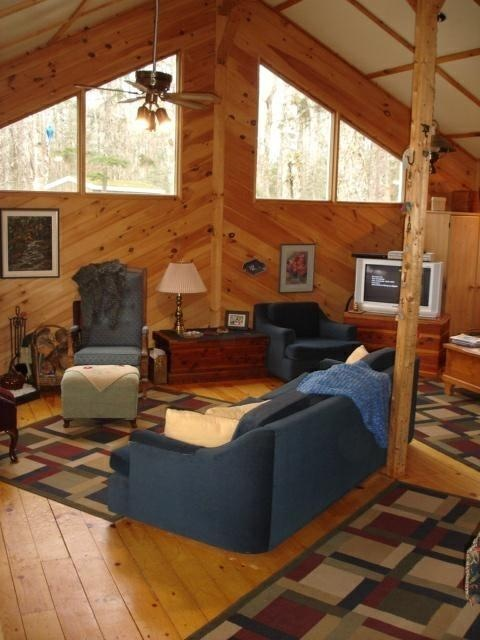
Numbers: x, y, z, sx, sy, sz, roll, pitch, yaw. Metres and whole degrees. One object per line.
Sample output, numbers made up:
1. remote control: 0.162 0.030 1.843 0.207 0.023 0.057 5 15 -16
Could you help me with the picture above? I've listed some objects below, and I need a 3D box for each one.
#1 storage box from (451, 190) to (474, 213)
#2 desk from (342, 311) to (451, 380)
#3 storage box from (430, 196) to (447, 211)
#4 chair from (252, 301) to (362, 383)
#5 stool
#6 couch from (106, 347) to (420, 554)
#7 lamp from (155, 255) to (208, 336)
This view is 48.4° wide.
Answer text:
1. storage box: 3.286 -1.748 7.827 0.194 0.314 0.364 -1 16 -42
2. desk: 2.031 0.209 6.828 1.665 0.870 0.876 6 10 36
3. storage box: 2.765 -1.605 7.433 0.260 0.204 0.235 3 17 4
4. chair: 0.816 0.210 6.550 1.166 0.881 1.100 -3 5 -25
5. stool: -1.179 0.637 4.510 0.604 0.376 0.557 0 5 -9
6. couch: -0.018 0.428 2.735 0.823 0.564 1.489 13 19 38
7. lamp: -0.747 -0.257 6.317 0.499 0.833 0.703 -1 7 -21
